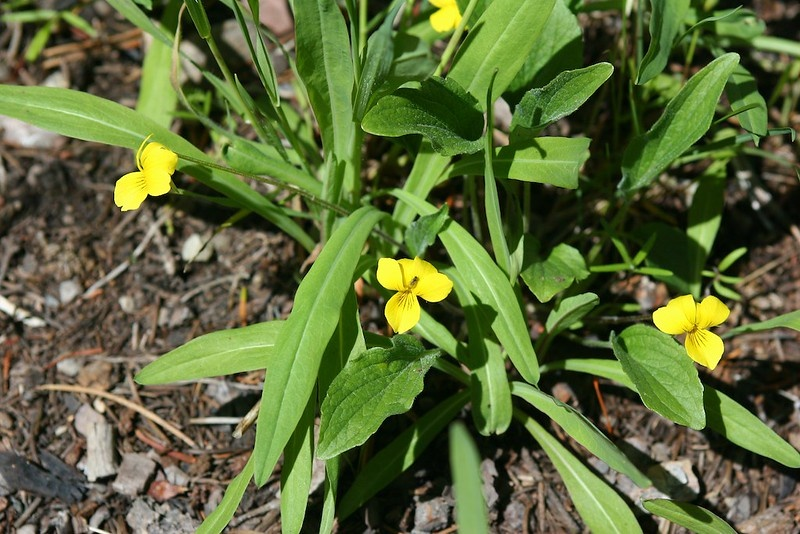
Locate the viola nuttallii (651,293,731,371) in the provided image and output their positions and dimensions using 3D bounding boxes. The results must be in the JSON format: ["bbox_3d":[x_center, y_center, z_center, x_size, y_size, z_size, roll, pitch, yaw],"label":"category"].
[{"bbox_3d":[1.161,0.248,2.812,0.281,0.301,0.080,-29,6,-9],"label":"viola nuttallii"}]

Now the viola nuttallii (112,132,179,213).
[{"bbox_3d":[-0.975,-0.363,2.723,0.196,0.204,0.064,-44,79,-5],"label":"viola nuttallii"}]
